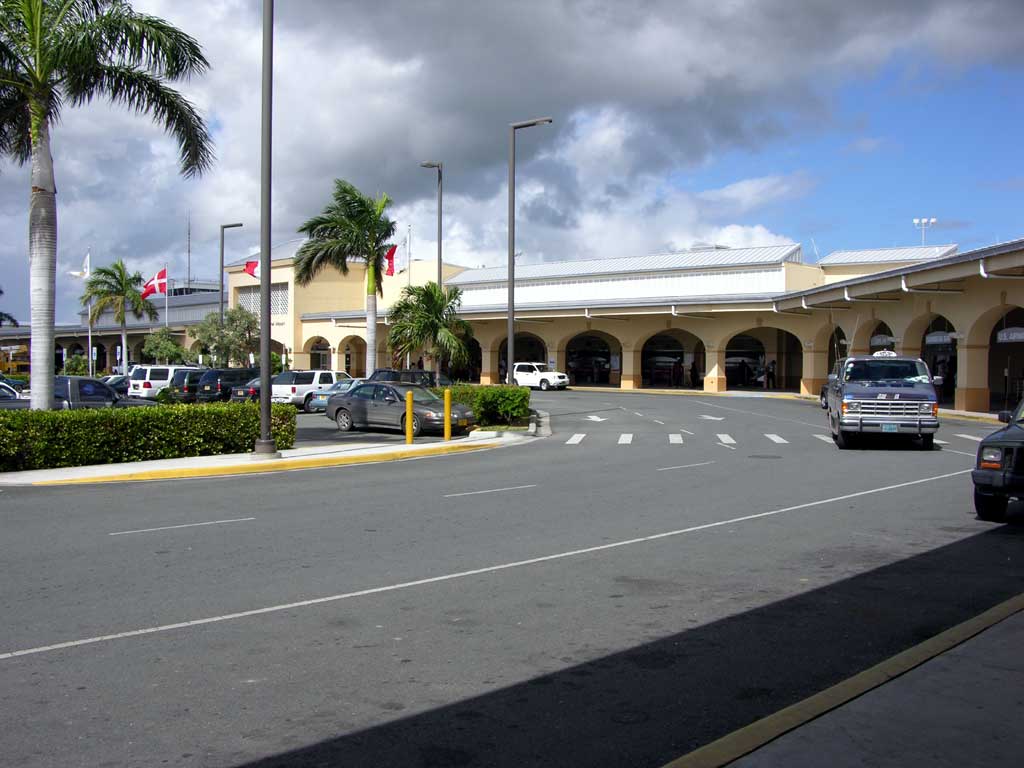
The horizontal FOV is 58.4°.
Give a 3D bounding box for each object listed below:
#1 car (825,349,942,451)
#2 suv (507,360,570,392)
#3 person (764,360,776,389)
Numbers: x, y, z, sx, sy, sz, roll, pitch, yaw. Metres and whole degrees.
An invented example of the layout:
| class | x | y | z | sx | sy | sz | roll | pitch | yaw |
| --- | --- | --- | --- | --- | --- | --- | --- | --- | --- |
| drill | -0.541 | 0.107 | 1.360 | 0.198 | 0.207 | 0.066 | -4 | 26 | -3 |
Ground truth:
| class | x | y | z | sx | sy | sz | roll | pitch | yaw |
| --- | --- | --- | --- | --- | --- | --- | --- | --- | --- |
| car | 9.641 | 0.450 | 23.788 | 2.336 | 2.408 | 2.731 | 1 | 4 | 18 |
| suv | 1.931 | -0.540 | 59.651 | 2.884 | 1.538 | 1.783 | -1 | 1 | 20 |
| person | 17.236 | -0.747 | 61.123 | 0.667 | 1.744 | 0.486 | 1 | 3 | 18 |
